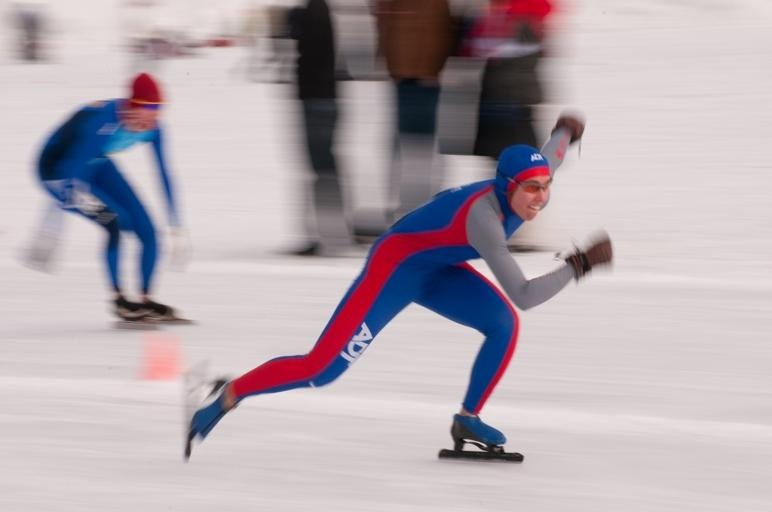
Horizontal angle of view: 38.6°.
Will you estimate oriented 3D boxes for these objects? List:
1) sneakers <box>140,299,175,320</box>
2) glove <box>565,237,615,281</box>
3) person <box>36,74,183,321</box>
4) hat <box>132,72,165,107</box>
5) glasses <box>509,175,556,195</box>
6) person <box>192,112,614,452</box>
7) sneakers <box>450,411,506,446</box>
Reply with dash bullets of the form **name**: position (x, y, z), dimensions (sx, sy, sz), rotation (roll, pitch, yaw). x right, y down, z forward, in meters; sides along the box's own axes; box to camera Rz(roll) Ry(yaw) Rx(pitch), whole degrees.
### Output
- **sneakers**: position (-1.112, 0.277, 5.483), dimensions (0.178, 0.039, 0.104), rotation (9, -5, -1)
- **glove**: position (0.805, 0.007, 4.376), dimensions (0.121, 0.096, 0.276), rotation (16, 0, 9)
- **person**: position (-1.340, -0.264, 5.388), dimensions (0.643, 1.195, 0.547), rotation (-5, 29, -11)
- **hat**: position (-1.162, -0.803, 5.393), dimensions (0.158, 0.166, 0.111), rotation (-3, 27, -8)
- **glasses**: position (0.580, -0.278, 4.354), dimensions (0.161, 0.066, 0.057), rotation (-1, 26, -6)
- **person**: position (0.113, 0.168, 4.510), dimensions (2.183, 1.184, 0.901), rotation (-8, 4, 19)
- **sneakers**: position (0.395, 0.718, 4.498), dimensions (0.101, 0.096, 0.265), rotation (-8, 4, -45)
